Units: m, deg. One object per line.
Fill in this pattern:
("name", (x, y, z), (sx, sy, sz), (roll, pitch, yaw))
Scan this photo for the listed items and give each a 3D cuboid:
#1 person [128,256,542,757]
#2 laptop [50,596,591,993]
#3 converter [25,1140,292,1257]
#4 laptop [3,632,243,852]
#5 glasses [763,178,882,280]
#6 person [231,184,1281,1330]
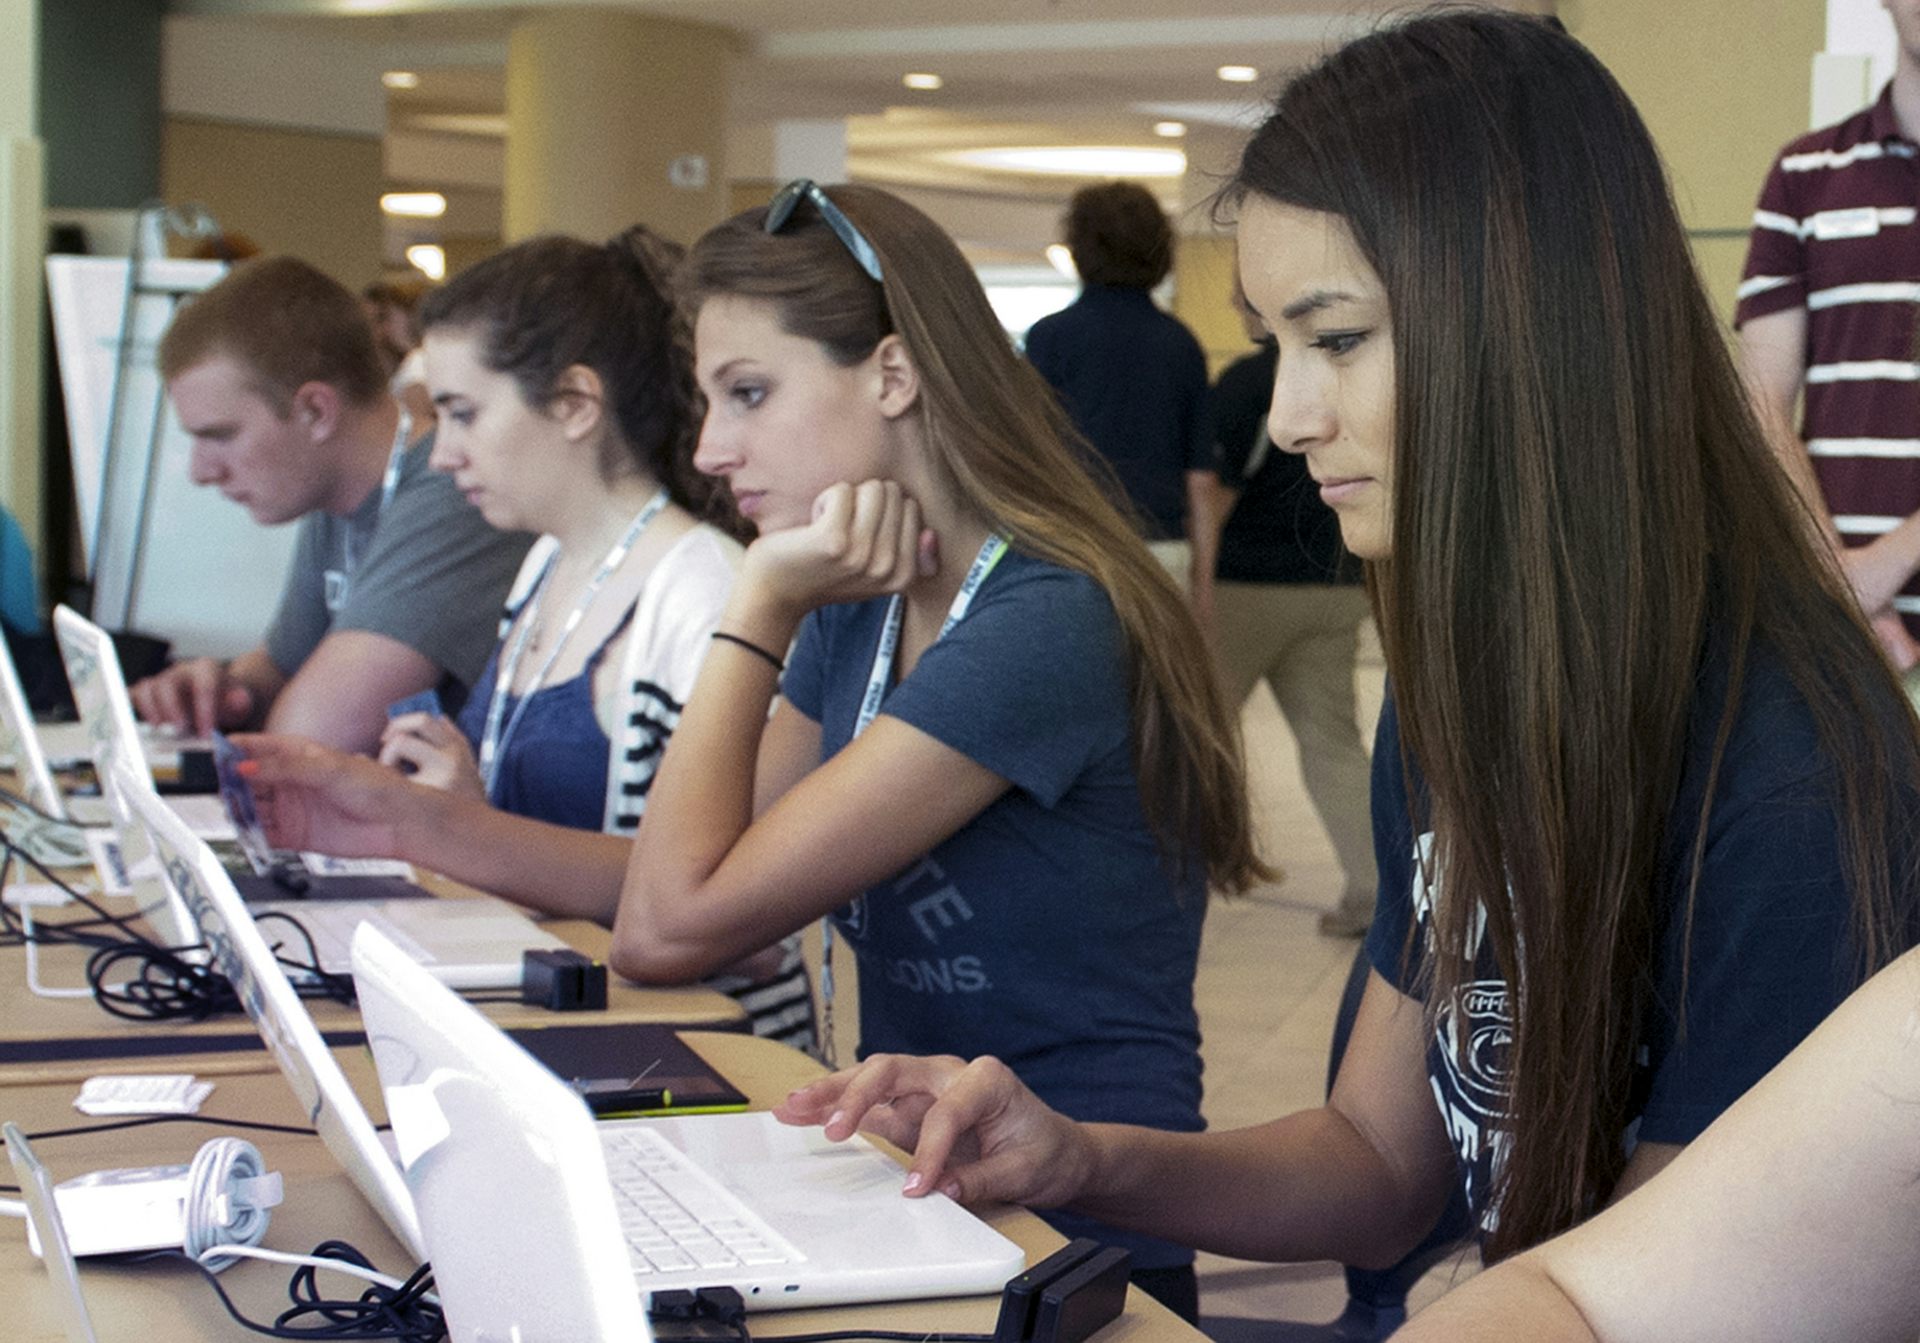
("person", (-1.145, -0.279, 3.080), (0.718, 0.864, 0.944), (-9, 16, -29))
("laptop", (-0.804, 0.084, 2.025), (0.493, 0.380, 0.584), (-1, 6, -33))
("converter", (-0.553, 0.376, 1.164), (0.123, 0.057, 0.088), (-4, 6, 8))
("laptop", (-1.213, 0.108, 2.414), (0.230, 0.195, 0.314), (-1, 6, -31))
("glasses", (-0.141, -0.501, 1.883), (0.116, 0.035, 0.120), (31, -15, 43))
("person", (-0.331, 0.160, 2.944), (1.120, 2.644, 0.850), (-3, -5, -11))
